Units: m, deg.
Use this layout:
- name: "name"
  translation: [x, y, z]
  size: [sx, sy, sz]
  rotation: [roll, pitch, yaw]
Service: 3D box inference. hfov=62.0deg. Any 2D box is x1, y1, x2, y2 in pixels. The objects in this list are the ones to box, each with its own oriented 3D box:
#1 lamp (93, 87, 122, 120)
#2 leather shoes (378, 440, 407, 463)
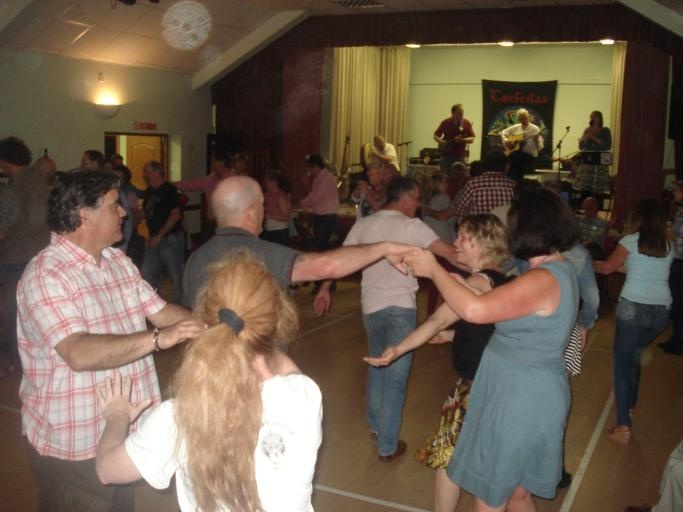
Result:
- name: "lamp"
  translation: [-4.341, -2.873, 10.653]
  size: [0.280, 0.572, 0.667]
  rotation: [6, 12, 25]
- name: "leather shoes"
  translation: [0.401, 1.500, 4.426]
  size: [0.089, 0.118, 0.247]
  rotation: [21, 38, 32]
